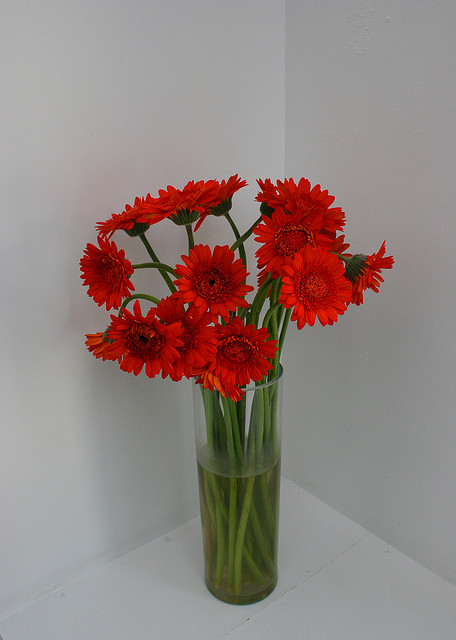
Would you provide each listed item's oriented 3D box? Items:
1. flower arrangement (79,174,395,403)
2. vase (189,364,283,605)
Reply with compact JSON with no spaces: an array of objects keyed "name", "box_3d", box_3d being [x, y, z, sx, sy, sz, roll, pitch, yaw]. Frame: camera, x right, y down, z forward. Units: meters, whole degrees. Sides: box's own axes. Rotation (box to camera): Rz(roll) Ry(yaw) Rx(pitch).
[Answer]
[{"name":"flower arrangement","box_3d":[-0.037,-0.044,0.906,0.370,0.306,0.441,-6,9,-26]},{"name":"vase","box_3d":[0.020,0.267,1.002,0.138,0.400,0.200,-2,9,-1]}]
